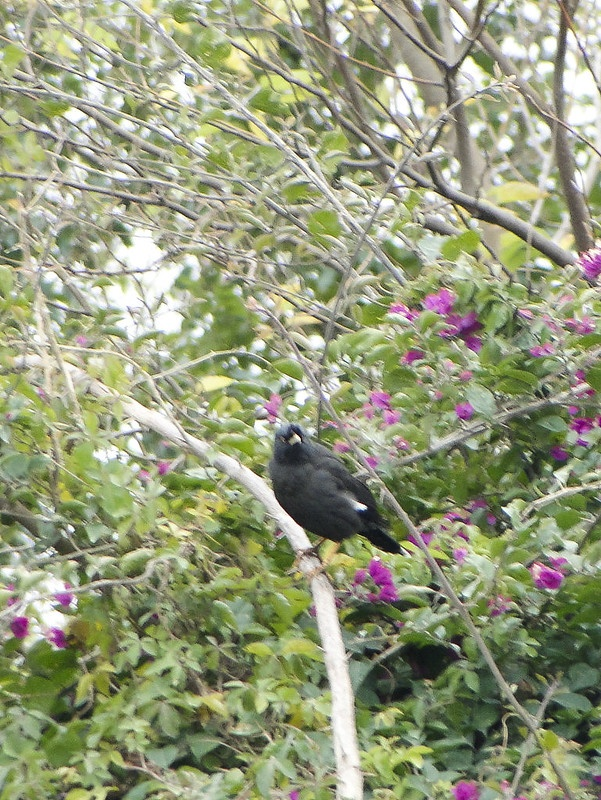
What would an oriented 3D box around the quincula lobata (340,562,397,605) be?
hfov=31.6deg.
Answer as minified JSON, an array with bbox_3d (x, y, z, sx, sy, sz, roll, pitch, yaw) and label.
[{"bbox_3d":[0.237,0.588,3.410,0.136,0.142,0.194,-12,-20,0],"label":"quincula lobata"}]

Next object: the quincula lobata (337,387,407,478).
[{"bbox_3d":[0.246,0.105,3.730,0.160,0.269,0.205,-7,1,40],"label":"quincula lobata"}]

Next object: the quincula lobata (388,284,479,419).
[{"bbox_3d":[0.534,-0.180,3.777,0.313,0.463,0.245,-14,8,12],"label":"quincula lobata"}]
